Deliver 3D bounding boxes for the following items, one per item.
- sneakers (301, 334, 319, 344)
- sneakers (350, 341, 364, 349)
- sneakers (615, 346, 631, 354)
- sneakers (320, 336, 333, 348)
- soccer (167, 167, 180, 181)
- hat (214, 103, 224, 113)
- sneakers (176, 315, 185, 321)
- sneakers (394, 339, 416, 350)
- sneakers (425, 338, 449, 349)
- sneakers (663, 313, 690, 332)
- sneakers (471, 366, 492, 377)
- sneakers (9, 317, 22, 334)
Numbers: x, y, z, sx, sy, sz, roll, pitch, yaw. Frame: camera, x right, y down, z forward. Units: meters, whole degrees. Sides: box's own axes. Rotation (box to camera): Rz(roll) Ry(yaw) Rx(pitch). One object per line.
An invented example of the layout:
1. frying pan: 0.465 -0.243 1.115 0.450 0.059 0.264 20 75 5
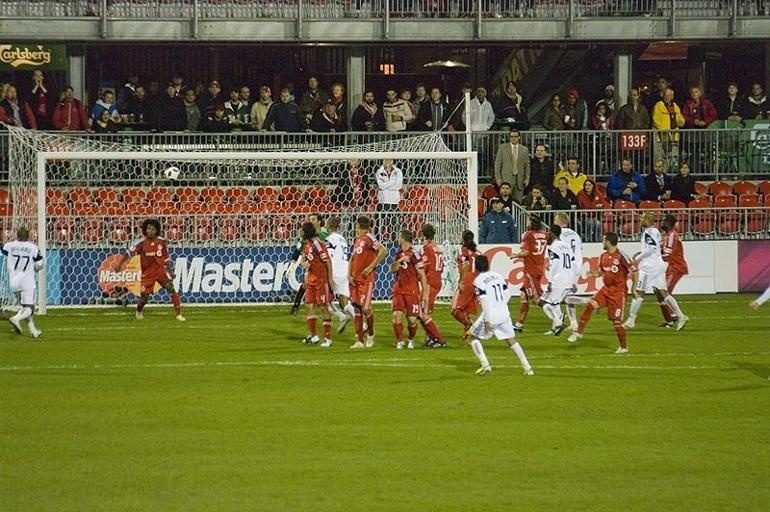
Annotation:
1. sneakers: -1.581 1.769 29.969 0.404 0.203 0.148 3 16 31
2. sneakers: -0.574 1.866 29.639 0.283 0.132 0.346 0 5 -1
3. sneakers: 4.867 1.938 29.143 0.268 0.144 0.321 1 5 13
4. sneakers: -1.221 1.836 29.771 0.215 0.170 0.399 -1 -1 6
5. soccer: -5.055 -1.950 33.846 0.339 0.342 0.342 18 7 3
6. hat: -4.318 -3.868 37.155 0.219 0.285 0.295 -1 1 -5
7. sneakers: -4.647 1.434 32.307 0.107 0.089 0.194 -5 4 -36
8. sneakers: 0.402 1.877 29.562 0.455 0.198 0.146 3 -3 -14
9. sneakers: 1.089 1.847 29.641 0.503 0.217 0.173 7 7 12
10. sneakers: 6.465 1.500 31.157 0.599 0.260 0.203 -23 5 34
11. sneakers: 1.886 2.272 27.605 0.368 0.161 0.137 -7 9 -4
12. sneakers: -7.962 1.534 30.591 0.115 0.342 0.152 -36 18 -34
